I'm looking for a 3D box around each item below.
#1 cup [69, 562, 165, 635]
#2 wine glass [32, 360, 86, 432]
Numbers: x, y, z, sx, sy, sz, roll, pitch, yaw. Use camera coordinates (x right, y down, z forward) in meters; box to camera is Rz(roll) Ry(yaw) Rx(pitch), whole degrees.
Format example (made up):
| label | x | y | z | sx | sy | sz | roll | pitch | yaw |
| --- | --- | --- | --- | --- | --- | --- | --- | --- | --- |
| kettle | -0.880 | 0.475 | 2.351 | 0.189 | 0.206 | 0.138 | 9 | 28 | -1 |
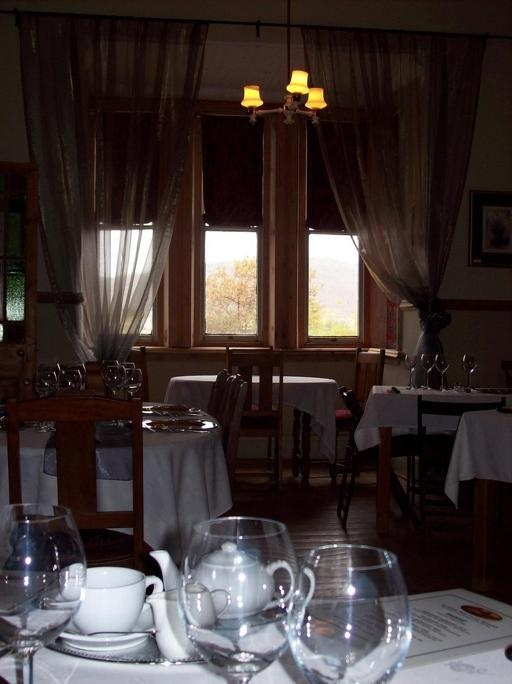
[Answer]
| label | x | y | z | sx | sy | sz | roll | pitch | yaw |
| --- | --- | --- | --- | --- | --- | --- | --- | --- | --- |
| cup | -0.139 | 0.234 | 0.593 | 0.071 | 0.077 | 0.069 | 1 | -11 | 0 |
| wine glass | -0.789 | 0.212 | 2.425 | 0.206 | 0.218 | 0.543 | -3 | 7 | -18 |
